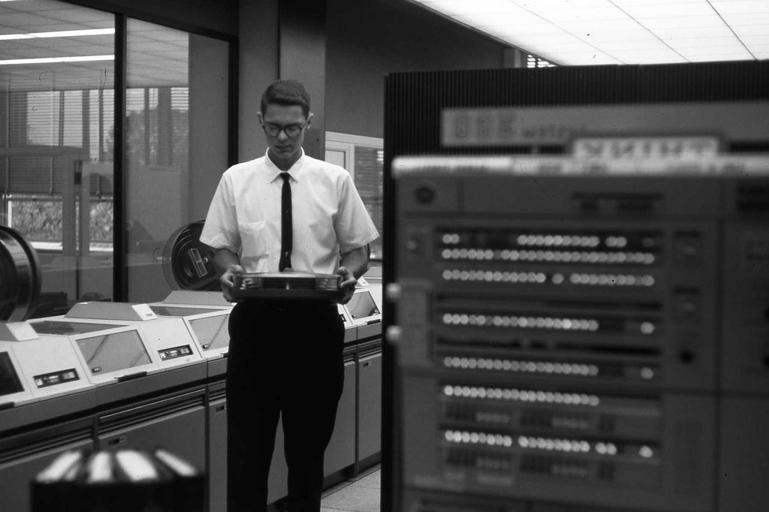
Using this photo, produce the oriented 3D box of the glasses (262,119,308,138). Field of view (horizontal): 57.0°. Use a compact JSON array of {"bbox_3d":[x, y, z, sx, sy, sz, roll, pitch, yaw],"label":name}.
[{"bbox_3d":[-0.350,-0.446,2.500,0.152,0.054,0.099,1,8,-10],"label":"glasses"}]
